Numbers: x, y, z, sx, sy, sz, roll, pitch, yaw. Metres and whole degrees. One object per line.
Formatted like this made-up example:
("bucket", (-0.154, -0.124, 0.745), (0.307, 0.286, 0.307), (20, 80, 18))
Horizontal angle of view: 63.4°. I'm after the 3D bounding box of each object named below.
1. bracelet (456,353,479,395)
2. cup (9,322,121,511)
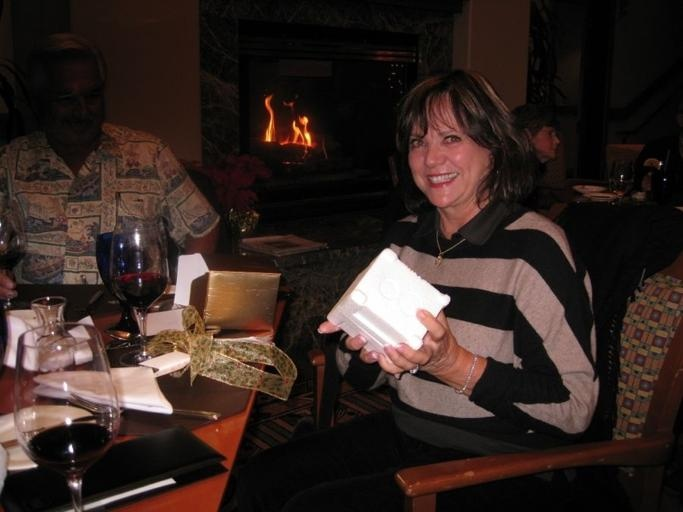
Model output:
("bracelet", (0.277, 0.253, 1.217), (0.032, 0.082, 0.063), (20, -16, 18))
("cup", (-0.407, 0.224, 0.809), (0.123, 0.241, 0.239), (-10, 16, -32))
